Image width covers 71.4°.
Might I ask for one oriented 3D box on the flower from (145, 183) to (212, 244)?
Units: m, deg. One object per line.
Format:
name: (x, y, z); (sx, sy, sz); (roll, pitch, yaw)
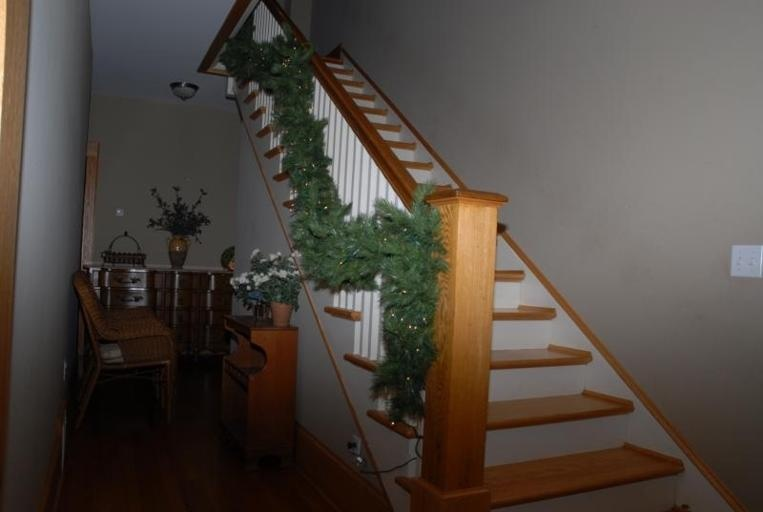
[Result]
flower: (-2.788, -0.565, 7.284); (0.801, 0.582, 0.799); (-2, 12, -18)

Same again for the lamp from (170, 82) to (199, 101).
lamp: (-2.494, -2.122, 6.650); (0.274, 0.220, 0.432); (-8, 4, -29)

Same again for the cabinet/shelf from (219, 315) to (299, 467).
cabinet/shelf: (-0.885, 1.007, 3.910); (0.398, 0.974, 1.063); (2, -1, -17)

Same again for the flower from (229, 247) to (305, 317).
flower: (-0.825, 0.185, 3.979); (0.516, 0.425, 0.429); (-4, 16, 22)

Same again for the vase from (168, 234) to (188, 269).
vase: (-2.717, -0.056, 7.036); (0.320, 0.455, 0.272); (4, -3, -38)

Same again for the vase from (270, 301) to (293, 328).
vase: (-0.728, 0.419, 3.862); (0.164, 0.175, 0.165); (1, 0, 31)

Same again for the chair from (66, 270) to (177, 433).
chair: (-2.297, 0.710, 5.021); (1.072, 1.485, 1.872); (-1, 6, -20)

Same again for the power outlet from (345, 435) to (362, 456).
power outlet: (-0.166, 1.143, 3.189); (0.089, 0.120, 0.027); (4, -1, 44)
